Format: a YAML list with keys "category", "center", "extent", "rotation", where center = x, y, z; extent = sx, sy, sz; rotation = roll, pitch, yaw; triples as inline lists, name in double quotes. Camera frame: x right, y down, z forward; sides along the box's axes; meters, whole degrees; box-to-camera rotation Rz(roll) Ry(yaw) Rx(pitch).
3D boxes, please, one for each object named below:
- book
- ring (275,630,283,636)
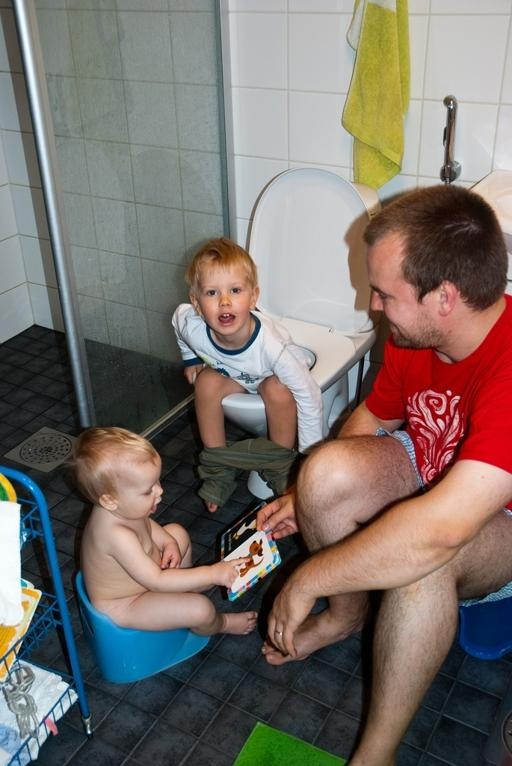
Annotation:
- category: "book"
  center: [-0.015, 0.349, 1.245]
  extent: [0.161, 0.038, 0.160]
  rotation: [-39, 22, 2]
- category: "ring"
  center: [0.038, 0.419, 1.019]
  extent: [0.011, 0.014, 0.005]
  rotation: [2, 36, 15]
